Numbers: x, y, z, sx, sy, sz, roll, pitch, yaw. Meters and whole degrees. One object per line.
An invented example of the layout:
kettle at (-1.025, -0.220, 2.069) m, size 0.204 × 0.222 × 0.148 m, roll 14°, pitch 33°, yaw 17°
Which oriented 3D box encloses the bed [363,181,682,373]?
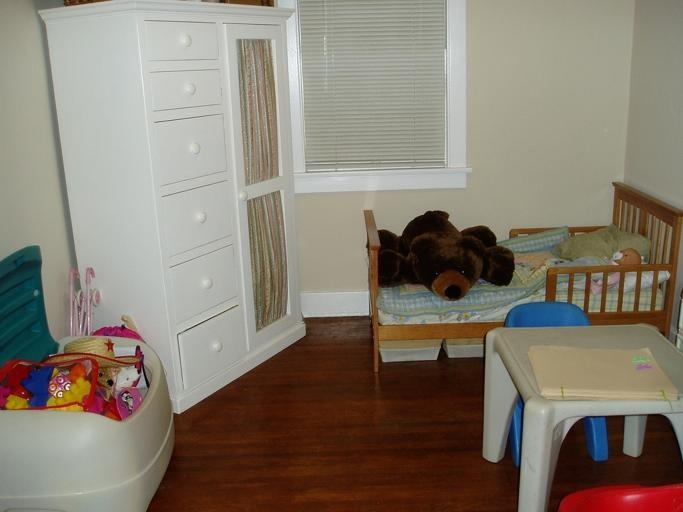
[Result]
bed at (1.068, 0.076, 3.455) m, size 1.700 × 0.877 × 0.982 m, roll -1°, pitch 22°, yaw -1°

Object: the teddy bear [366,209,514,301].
teddy bear at (0.622, -0.023, 3.304) m, size 0.912 × 0.293 × 0.868 m, roll -7°, pitch 26°, yaw -9°

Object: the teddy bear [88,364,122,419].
teddy bear at (-1.026, 0.560, 2.293) m, size 0.082 × 0.229 × 0.173 m, roll -14°, pitch -17°, yaw 30°
